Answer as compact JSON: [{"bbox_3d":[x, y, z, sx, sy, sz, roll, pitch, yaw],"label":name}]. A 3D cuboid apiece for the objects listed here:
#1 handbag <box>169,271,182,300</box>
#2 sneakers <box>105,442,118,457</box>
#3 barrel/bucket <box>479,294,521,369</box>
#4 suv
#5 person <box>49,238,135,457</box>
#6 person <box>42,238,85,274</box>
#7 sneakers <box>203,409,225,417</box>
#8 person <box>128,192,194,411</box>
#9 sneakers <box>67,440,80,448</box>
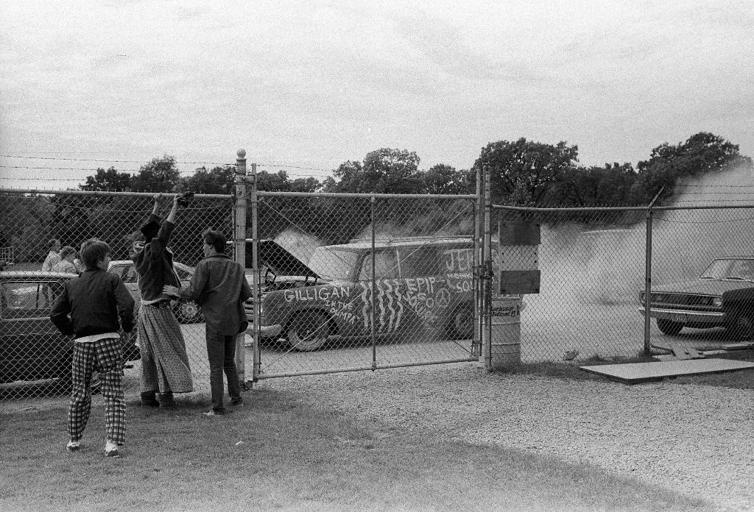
[{"bbox_3d":[-2.587,0.388,9.407,0.087,0.343,0.250,-20,-16,36],"label":"handbag"},{"bbox_3d":[-2.854,2.091,7.962,0.085,0.112,0.231,6,0,-31],"label":"sneakers"},{"bbox_3d":[1.918,1.256,12.098,0.940,1.485,0.965,1,0,0],"label":"barrel/bucket"},{"bbox_3d":[-0.216,0.749,13.555,3.778,1.718,2.132,-1,0,-14],"label":"suv"},{"bbox_3d":[-3.096,1.004,8.157,0.999,2.258,0.743,10,13,40],"label":"person"},{"bbox_3d":[-5.181,0.019,12.158,0.470,0.807,0.442,9,13,38],"label":"person"},{"bbox_3d":[-2.038,1.991,9.308,0.277,0.127,0.107,4,-4,7],"label":"sneakers"},{"bbox_3d":[-2.736,0.612,9.451,0.845,2.789,0.437,4,10,16],"label":"person"},{"bbox_3d":[-3.330,2.072,8.132,0.066,0.090,0.202,5,0,0],"label":"sneakers"}]
